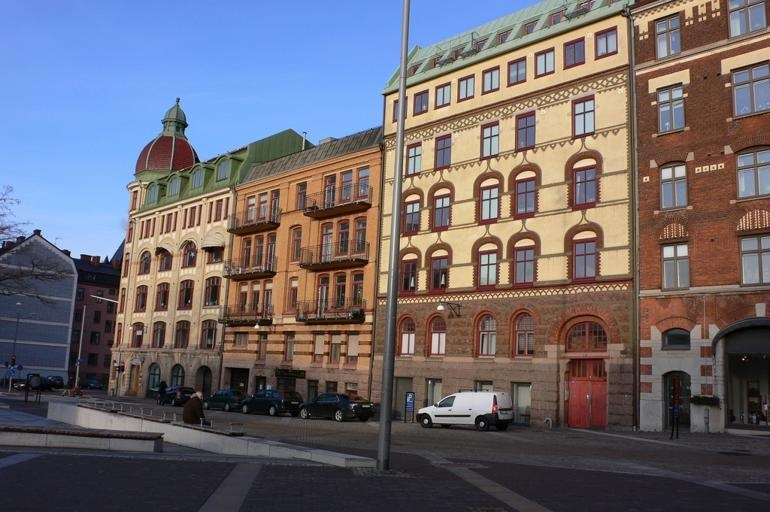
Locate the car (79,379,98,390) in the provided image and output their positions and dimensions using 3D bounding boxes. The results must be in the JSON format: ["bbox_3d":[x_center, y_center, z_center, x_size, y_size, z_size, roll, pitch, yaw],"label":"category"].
[{"bbox_3d":[-39.773,16.790,102.862,1.997,0.872,3.049,8,-16,-38],"label":"car"}]

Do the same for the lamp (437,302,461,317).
[{"bbox_3d":[4.249,3.373,50.529,1.505,1.048,0.346,-10,-20,33],"label":"lamp"}]

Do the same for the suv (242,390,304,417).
[{"bbox_3d":[-7.721,9.772,52.563,3.969,1.249,1.793,-4,-11,38],"label":"suv"}]

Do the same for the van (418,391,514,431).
[{"bbox_3d":[4.793,8.652,44.920,4.482,1.700,2.483,-3,-10,34],"label":"van"}]

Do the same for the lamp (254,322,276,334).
[{"bbox_3d":[-9.735,5.644,61.845,1.584,0.659,0.892,14,-18,-21],"label":"lamp"}]

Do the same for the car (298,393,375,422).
[{"bbox_3d":[-3.230,9.490,49.070,4.555,1.358,1.906,-2,-11,27],"label":"car"}]

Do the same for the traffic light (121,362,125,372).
[{"bbox_3d":[-25.351,10.468,74.272,0.292,0.873,0.636,-2,22,-1],"label":"traffic light"}]

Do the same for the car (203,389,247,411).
[{"bbox_3d":[-11.524,10.240,55.784,3.182,1.066,1.452,-4,-11,37],"label":"car"}]

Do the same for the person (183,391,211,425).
[{"bbox_3d":[-8.685,6.748,35.239,1.190,1.452,1.132,4,5,-33],"label":"person"}]

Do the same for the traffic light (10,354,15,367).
[{"bbox_3d":[-32.620,8.944,67.498,0.222,1.038,1.632,12,-19,-30],"label":"traffic light"}]
